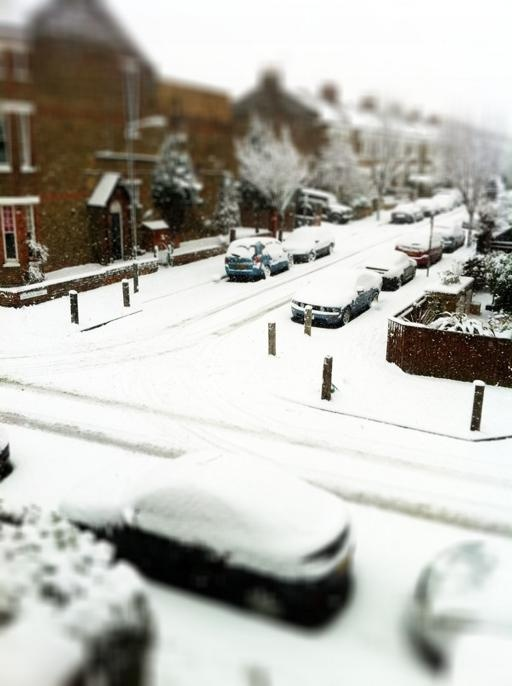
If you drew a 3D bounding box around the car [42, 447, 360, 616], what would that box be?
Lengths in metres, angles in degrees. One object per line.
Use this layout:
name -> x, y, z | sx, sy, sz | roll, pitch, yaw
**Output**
car -> -0.338, 1.778, 6.847 | 2.192, 0.812, 1.388 | 14, 23, 21
